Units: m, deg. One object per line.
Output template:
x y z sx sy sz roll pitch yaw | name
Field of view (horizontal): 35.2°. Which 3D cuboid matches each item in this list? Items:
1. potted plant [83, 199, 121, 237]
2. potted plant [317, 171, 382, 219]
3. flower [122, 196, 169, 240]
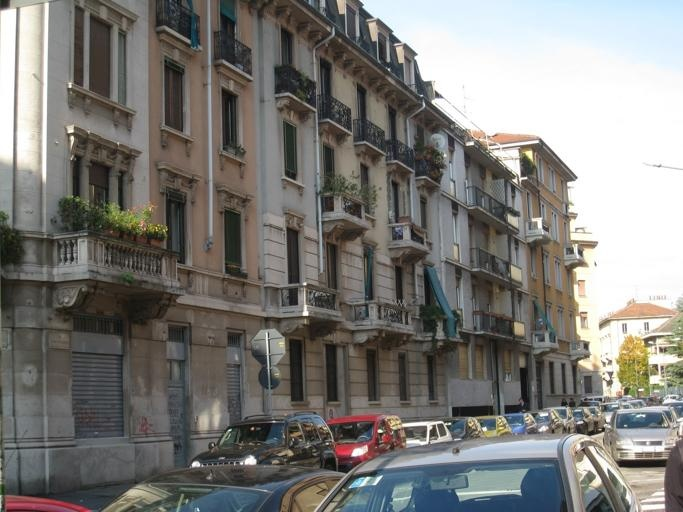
-6.462 -0.930 28.955 0.825 0.664 0.810 2 -10 -11 | potted plant
0.363 -2.237 41.114 0.896 1.439 3.625 -6 -14 28 | potted plant
-5.481 -0.976 29.880 0.937 0.540 1.048 1 -13 -4 | flower
